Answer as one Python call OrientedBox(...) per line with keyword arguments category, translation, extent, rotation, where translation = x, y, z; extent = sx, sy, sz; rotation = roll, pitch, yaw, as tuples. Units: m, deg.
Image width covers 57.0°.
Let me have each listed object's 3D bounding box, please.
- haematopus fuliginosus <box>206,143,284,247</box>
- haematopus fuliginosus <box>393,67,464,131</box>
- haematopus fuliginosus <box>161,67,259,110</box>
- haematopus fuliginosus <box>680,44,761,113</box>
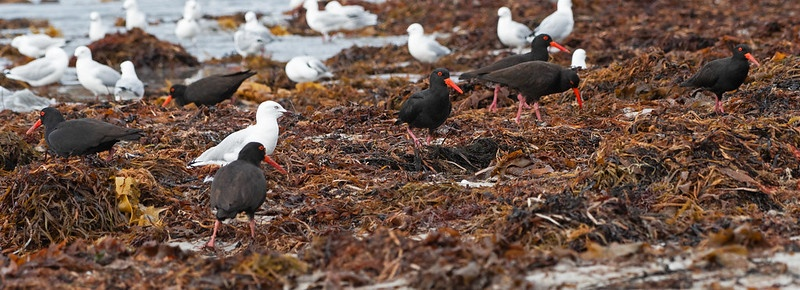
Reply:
OrientedBox(category="haematopus fuliginosus", translation=(-4.979, 1.473, 23.246), extent=(1.572, 2.440, 2.936), rotation=(5, 40, 24))
OrientedBox(category="haematopus fuliginosus", translation=(1.029, -1.313, 24.984), extent=(1.174, 2.227, 1.915), rotation=(25, 54, 37))
OrientedBox(category="haematopus fuliginosus", translation=(-7.055, -2.040, 27.385), extent=(3.615, 1.066, 1.053), rotation=(-21, 10, -7))
OrientedBox(category="haematopus fuliginosus", translation=(10.005, -2.430, 25.583), extent=(1.995, 2.632, 3.683), rotation=(1, 1, -8))
